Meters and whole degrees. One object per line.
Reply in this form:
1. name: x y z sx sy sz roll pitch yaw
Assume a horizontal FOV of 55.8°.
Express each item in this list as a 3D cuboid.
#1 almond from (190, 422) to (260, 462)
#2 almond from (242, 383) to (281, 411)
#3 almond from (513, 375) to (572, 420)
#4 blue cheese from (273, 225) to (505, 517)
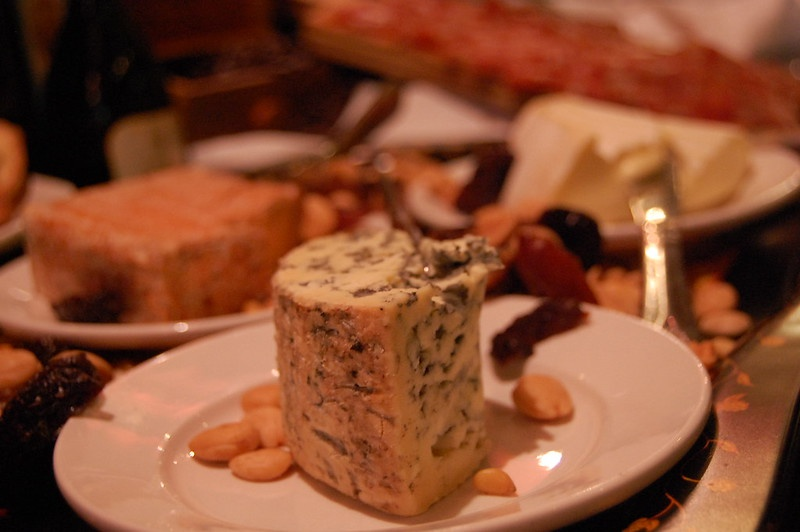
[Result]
1. almond: -0.361 0.363 1.552 0.124 0.075 0.064 -7 64 1
2. almond: -0.309 0.288 1.656 0.062 0.039 0.078 -3 2 6
3. almond: 0.302 0.280 1.593 0.103 0.022 0.081 25 49 16
4. blue cheese: -0.034 0.204 1.637 0.433 0.459 0.545 -9 16 -20
